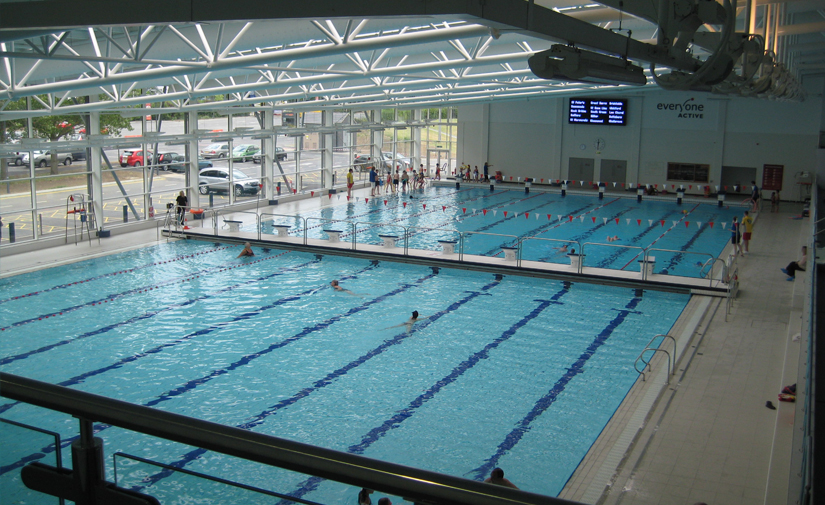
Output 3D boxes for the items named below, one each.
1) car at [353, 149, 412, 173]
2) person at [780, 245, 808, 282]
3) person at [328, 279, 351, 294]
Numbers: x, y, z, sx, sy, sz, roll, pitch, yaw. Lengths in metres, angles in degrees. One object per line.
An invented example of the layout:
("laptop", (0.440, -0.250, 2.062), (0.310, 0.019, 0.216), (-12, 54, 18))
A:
("car", (-2.133, -6.069, 37.116), (3.836, 0.972, 1.558), (-7, 15, -24))
("person", (10.993, 0.242, 16.082), (0.516, 1.014, 1.029), (5, 15, 31))
("person", (-2.053, 0.902, 15.509), (0.267, 0.264, 0.719), (-16, 24, -26))
